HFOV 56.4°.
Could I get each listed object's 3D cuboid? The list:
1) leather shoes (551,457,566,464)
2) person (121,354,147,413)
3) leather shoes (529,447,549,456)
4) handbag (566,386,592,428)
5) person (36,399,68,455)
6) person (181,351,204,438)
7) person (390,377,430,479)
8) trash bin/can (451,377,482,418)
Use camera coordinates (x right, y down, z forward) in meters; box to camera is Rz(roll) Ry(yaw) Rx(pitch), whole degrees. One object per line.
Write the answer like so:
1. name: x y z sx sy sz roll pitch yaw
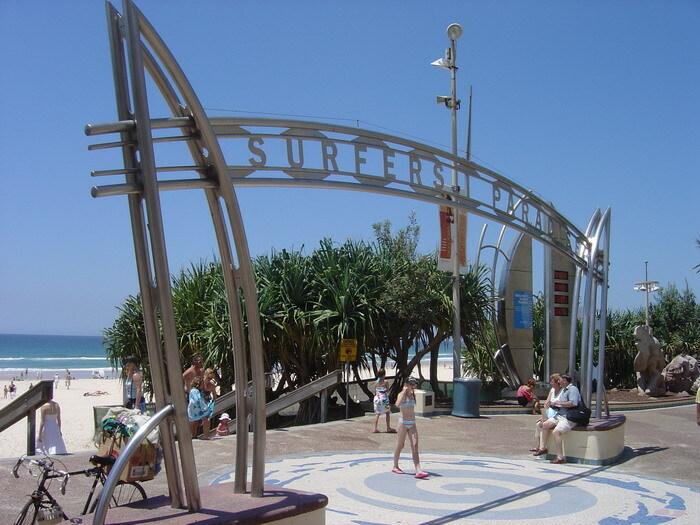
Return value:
1. leather shoes: 3.996 3.810 12.579 0.285 0.133 0.113 4 -10 2
2. person: -4.090 2.352 12.415 0.378 1.113 1.355 2 -4 -18
3. leather shoes: 3.737 3.754 12.925 0.337 0.153 0.130 7 -13 -10
4. handbag: 4.524 2.799 12.892 0.395 0.798 1.039 -1 -4 26
5. person: -5.969 3.271 13.081 0.541 1.052 1.113 3 -4 -27
6. person: -3.233 2.408 13.439 0.378 1.033 1.084 2 -4 -14
7. person: 1.051 2.915 11.631 0.605 1.687 1.083 1 -3 3
8. trash bin/can: 3.540 3.985 19.126 0.891 1.299 0.957 -4 -10 34
